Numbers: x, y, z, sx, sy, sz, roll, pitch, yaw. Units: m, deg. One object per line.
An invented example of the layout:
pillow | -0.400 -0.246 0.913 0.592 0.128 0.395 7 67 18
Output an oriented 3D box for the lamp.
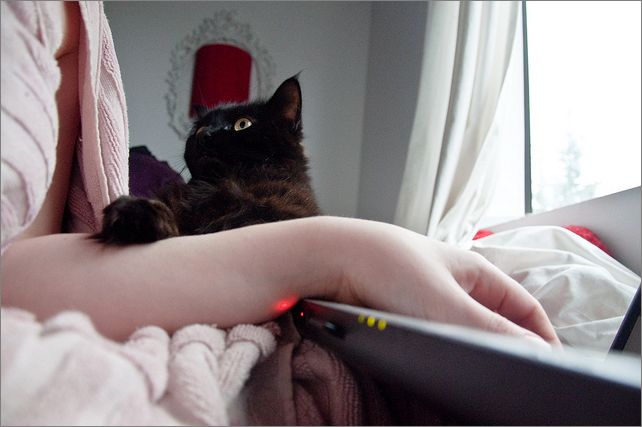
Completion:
lamp | -0.533 -0.679 2.603 0.260 0.311 0.265 0 -7 37
